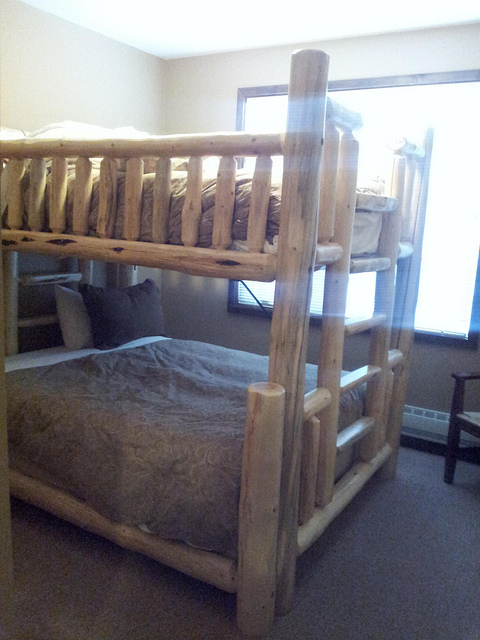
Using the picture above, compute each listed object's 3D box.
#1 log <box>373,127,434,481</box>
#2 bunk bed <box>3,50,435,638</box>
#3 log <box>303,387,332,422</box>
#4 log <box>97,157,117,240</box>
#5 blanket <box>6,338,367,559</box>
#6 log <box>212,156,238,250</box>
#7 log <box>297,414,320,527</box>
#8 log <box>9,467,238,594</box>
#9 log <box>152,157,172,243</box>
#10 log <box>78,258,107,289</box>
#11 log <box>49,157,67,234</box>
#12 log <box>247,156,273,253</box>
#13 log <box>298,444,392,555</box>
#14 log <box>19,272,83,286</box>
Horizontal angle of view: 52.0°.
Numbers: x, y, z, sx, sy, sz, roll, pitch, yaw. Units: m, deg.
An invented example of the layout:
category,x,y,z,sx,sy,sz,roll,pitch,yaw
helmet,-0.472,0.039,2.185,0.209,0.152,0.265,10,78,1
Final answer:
category,x,y,z,sx,sy,sz,roll,pitch,yaw
log,0.783,-0.002,2.624,0.234,1.991,0.283,4,10,15
bunk bed,-0.324,0.010,2.747,2.298,2.277,2.192,7,11,34
log,0.262,0.282,1.718,0.067,0.058,0.137,8,14,33
log,-0.480,-0.447,1.815,0.045,0.283,0.089,-2,12,-19
blanket,-0.247,0.319,2.662,1.809,0.581,1.531,8,9,29
log,-0.049,-0.366,1.553,0.072,0.283,0.092,2,8,-1
log,0.237,0.539,1.748,0.075,0.382,0.128,6,9,22
log,-0.459,0.710,1.723,1.024,0.116,0.058,8,10,27
log,-0.268,-0.409,1.704,0.065,0.281,0.122,1,9,-10
log,-1.031,-0.331,3.461,0.194,0.231,0.204,12,10,26
log,-0.719,-0.504,1.971,0.069,0.320,0.066,7,6,16
log,0.054,-0.341,1.438,0.052,0.257,0.079,5,13,20
log,0.537,0.680,2.207,0.163,0.149,1.232,-22,2,30
log,-1.098,-0.241,2.989,0.053,0.090,0.466,-2,3,39
